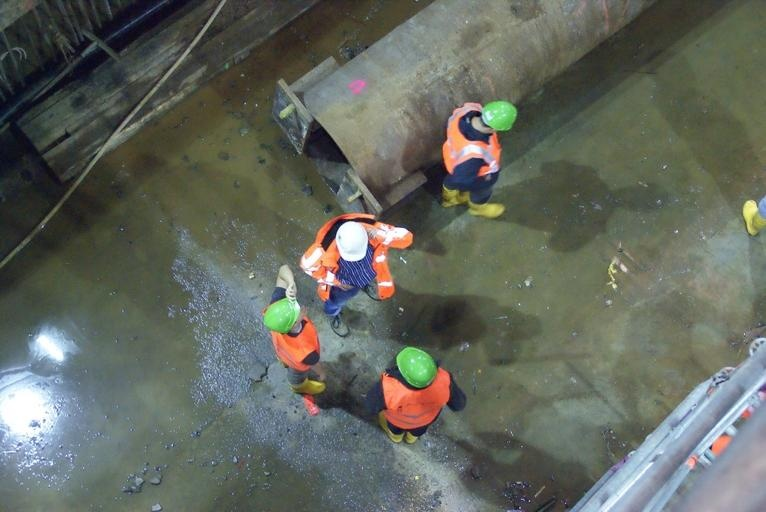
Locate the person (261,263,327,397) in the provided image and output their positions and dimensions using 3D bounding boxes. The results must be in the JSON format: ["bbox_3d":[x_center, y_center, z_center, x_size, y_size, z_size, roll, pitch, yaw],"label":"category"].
[{"bbox_3d":[-1.233,1.096,12.929,0.780,1.748,0.654,38,77,0],"label":"person"}]

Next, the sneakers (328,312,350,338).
[{"bbox_3d":[-0.628,1.018,13.608,0.201,0.389,0.220,18,115,-12],"label":"sneakers"}]

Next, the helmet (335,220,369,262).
[{"bbox_3d":[-0.405,-0.187,12.413,0.454,0.348,0.467,-23,79,-2],"label":"helmet"}]

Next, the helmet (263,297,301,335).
[{"bbox_3d":[-1.315,0.790,12.229,0.458,0.243,0.376,-39,86,5],"label":"helmet"}]

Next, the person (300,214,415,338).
[{"bbox_3d":[-0.365,0.359,13.096,0.910,1.727,0.728,-31,84,-9],"label":"person"}]

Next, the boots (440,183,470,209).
[{"bbox_3d":[1.049,-0.851,13.725,0.340,0.356,0.271,-19,87,-23],"label":"boots"}]

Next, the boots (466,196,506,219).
[{"bbox_3d":[1.508,-0.670,13.759,0.492,0.540,0.278,-5,80,7],"label":"boots"}]

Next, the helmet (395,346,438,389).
[{"bbox_3d":[0.420,1.456,12.231,0.564,0.210,0.447,34,83,7],"label":"helmet"}]

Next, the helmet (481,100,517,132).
[{"bbox_3d":[1.537,-1.882,12.636,0.436,0.216,0.385,4,80,3],"label":"helmet"}]
